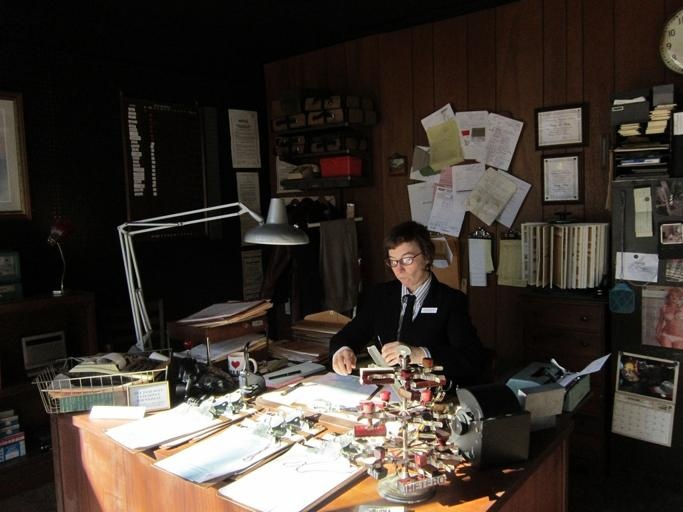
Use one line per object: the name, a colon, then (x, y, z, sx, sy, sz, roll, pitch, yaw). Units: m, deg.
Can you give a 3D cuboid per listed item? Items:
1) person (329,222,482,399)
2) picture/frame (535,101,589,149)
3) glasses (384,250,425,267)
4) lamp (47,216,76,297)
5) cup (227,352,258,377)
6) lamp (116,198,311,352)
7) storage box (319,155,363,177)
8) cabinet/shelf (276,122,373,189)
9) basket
person: (0.299, 0.248, 2.808, 0.766, 0.836, 0.795, -8, 8, -34)
picture/frame: (1.578, -0.923, 3.700, 0.341, 0.305, 0.036, 2, 7, 32)
glasses: (0.353, 0.011, 2.850, 0.216, 0.095, 0.107, -2, 7, 10)
lamp: (-1.956, -0.024, 3.640, 0.101, 0.485, 0.142, -2, 7, 11)
cup: (-0.487, 0.526, 2.553, 0.149, 0.105, 0.095, 9, -12, -27)
lamp: (-0.666, 0.150, 2.632, 0.935, 0.827, 0.278, 0, 2, 7)
storage box: (0.009, -0.742, 4.380, 0.194, 0.146, 0.273, 3, 5, 28)
cabinet/shelf: (-0.129, -0.835, 4.464, 0.808, 0.498, 0.436, -3, 7, 4)
basket: (-1.058, 0.555, 2.382, 0.511, 0.192, 0.342, -1, 0, -3)
